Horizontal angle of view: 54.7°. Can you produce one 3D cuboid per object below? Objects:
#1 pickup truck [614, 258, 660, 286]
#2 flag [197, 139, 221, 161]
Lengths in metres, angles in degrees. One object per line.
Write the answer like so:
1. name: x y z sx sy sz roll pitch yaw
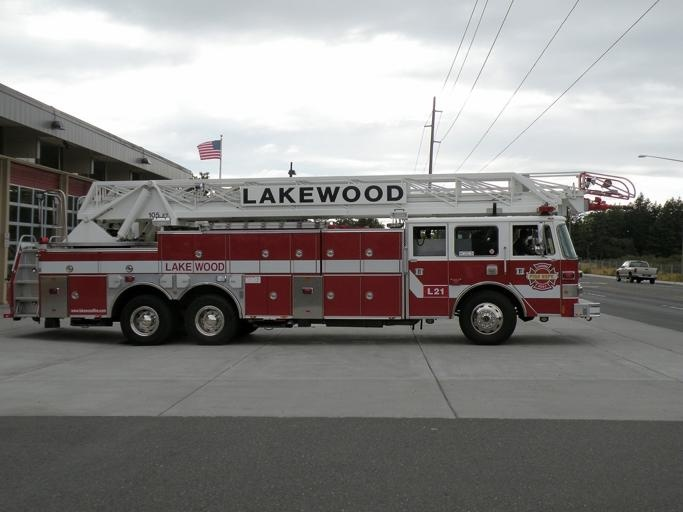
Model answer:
1. pickup truck: 22.718 1.216 51.135 1.523 1.308 3.390 1 1 0
2. flag: -5.298 -4.272 26.634 0.791 0.844 1.073 -1 3 -17
